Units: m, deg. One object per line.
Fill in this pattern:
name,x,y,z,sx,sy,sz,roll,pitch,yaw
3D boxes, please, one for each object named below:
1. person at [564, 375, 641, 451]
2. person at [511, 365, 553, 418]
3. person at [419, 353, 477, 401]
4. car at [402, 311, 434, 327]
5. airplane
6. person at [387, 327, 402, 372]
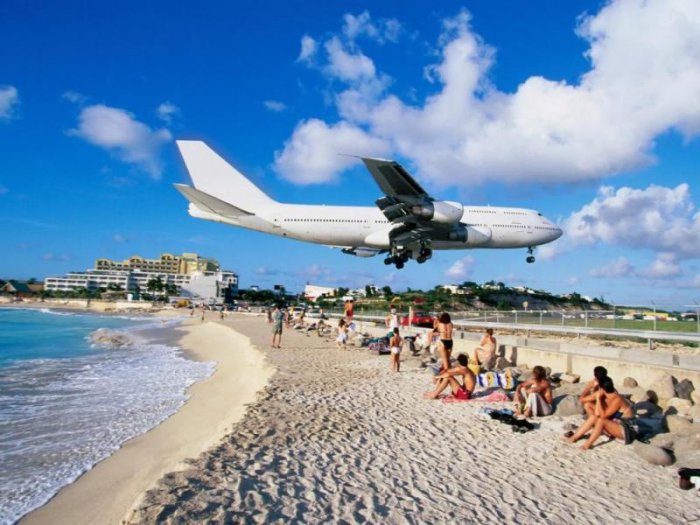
person,4.743,2.889,8.383,1.657,1.067,0.712,8,-9,-30
person,4.048,2.823,9.692,0.725,1.087,0.734,1,-7,31
person,2.501,2.766,10.689,0.915,1.159,1.041,0,-7,33
car,4.156,3.401,25.888,1.325,0.676,1.741,3,-5,-34
airplane,0.860,-2.326,22.063,13.466,2.737,11.034,1,-8,-8
person,1.486,2.783,14.024,0.367,1.354,1.163,4,-6,8
